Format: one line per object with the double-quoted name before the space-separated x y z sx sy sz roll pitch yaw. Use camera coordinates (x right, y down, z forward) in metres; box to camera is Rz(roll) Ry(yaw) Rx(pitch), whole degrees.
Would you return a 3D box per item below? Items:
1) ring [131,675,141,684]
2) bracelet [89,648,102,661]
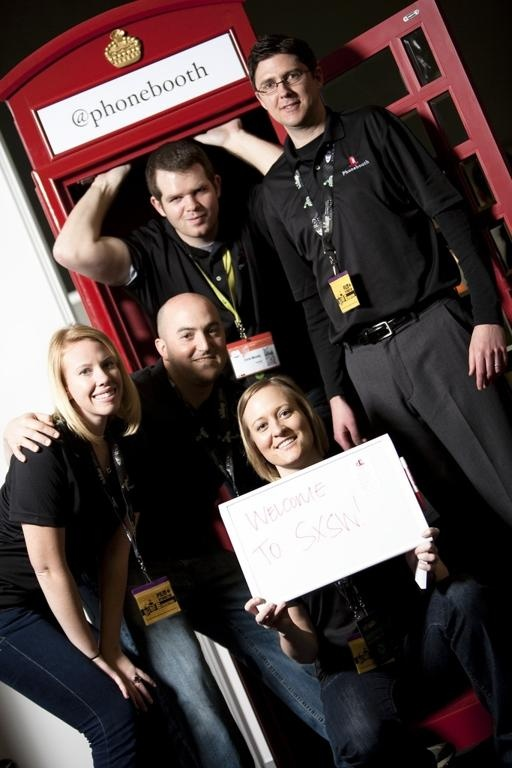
"ring" -0.348 0.858 1.681 0.023 0.027 0.016 1 14 4
"bracelet" -0.453 0.771 1.636 0.020 0.039 0.029 4 21 -32
